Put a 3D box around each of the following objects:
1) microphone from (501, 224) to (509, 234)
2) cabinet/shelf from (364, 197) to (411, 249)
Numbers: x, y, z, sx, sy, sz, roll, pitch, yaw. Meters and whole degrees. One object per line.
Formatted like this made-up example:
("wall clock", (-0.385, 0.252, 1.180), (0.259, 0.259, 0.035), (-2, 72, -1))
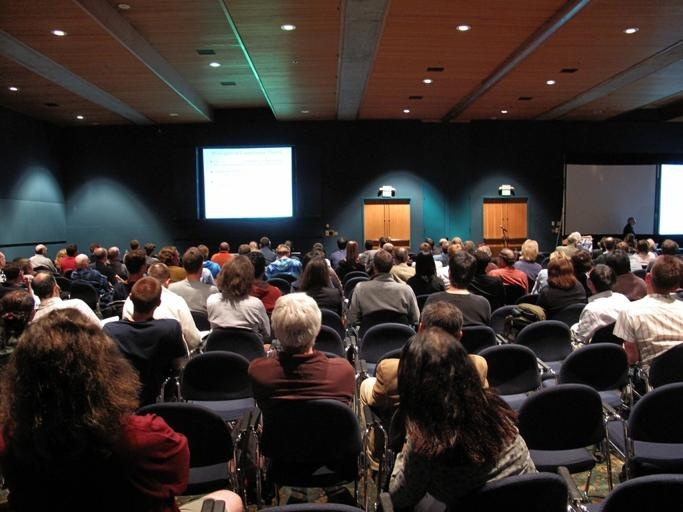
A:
("microphone", (4.399, -0.735, 13.522), (0.184, 0.186, 0.049), (0, -9, -29))
("cabinet/shelf", (1.145, -0.922, 12.944), (1.433, 1.495, 0.519), (0, 3, 2))
